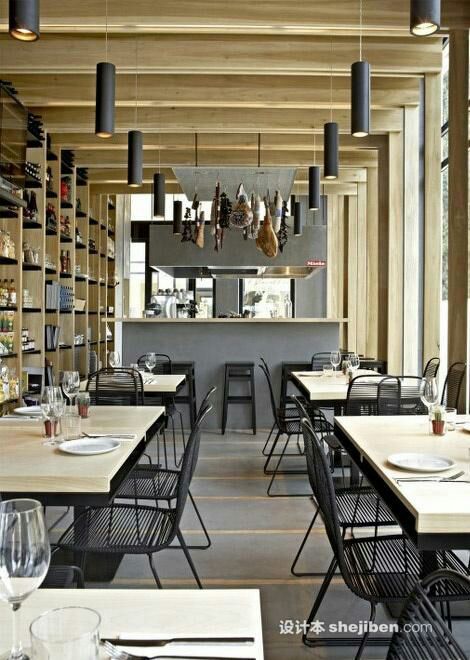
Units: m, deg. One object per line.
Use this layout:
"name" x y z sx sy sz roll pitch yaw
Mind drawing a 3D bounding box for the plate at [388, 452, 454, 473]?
"plate" 0.487 0.348 1.706 0.155 0.021 0.171 -3 5 -44

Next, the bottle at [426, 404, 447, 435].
"bottle" 0.669 0.288 2.145 0.064 0.142 0.077 1 4 14

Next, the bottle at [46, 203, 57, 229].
"bottle" -1.699 -1.027 5.928 0.069 0.267 0.243 -1 0 1

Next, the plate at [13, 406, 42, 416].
"plate" -0.850 0.327 2.631 0.098 0.015 0.212 -2 4 -25

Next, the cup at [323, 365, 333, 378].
"cup" 0.629 0.276 4.368 0.055 0.126 0.063 0 8 -12

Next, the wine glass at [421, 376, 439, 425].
"wine glass" 0.673 0.247 2.240 0.055 0.210 0.055 -5 22 11

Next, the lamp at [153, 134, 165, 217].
"lamp" -0.598 -1.047 5.027 0.080 0.310 0.295 0 3 -10

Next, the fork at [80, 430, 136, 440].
"fork" -0.407 0.327 2.022 0.192 0.011 0.098 1 3 10
